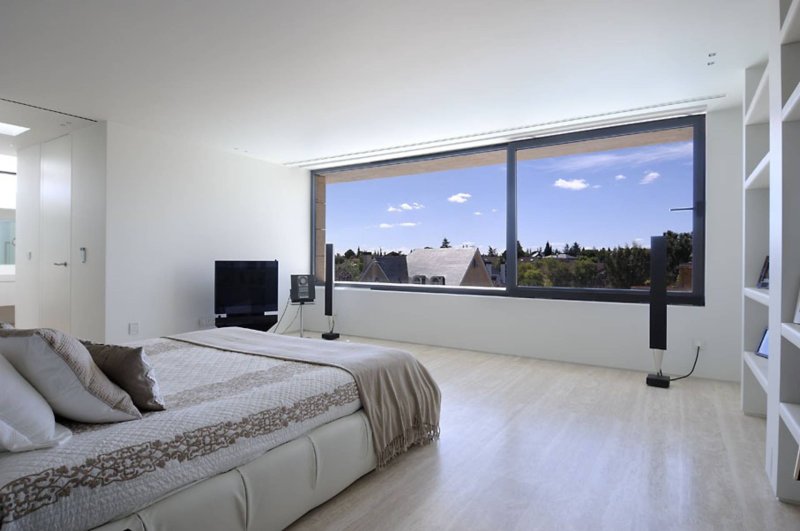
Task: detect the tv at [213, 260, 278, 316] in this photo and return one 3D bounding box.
[{"bbox_3d":[-2.306,0.333,7.265,0.083,0.693,0.815,-5,-7,43],"label":"tv"}]

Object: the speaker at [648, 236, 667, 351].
[{"bbox_3d":[2.900,0.313,5.523,0.191,1.249,0.337,3,11,24],"label":"speaker"}]
